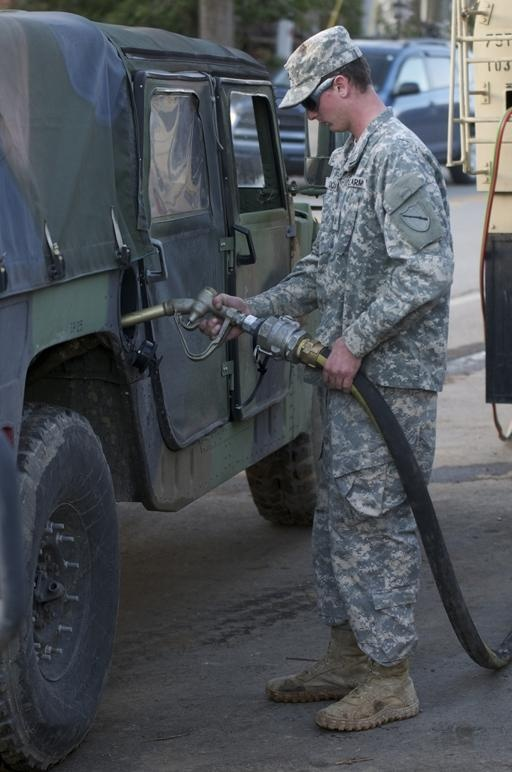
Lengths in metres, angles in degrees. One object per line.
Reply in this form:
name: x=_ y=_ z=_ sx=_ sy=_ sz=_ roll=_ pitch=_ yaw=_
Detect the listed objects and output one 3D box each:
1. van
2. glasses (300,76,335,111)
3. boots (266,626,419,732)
van: x=1.450 y=-3.732 z=16.409 sx=3.487 sy=2.133 sz=1.819 roll=11 pitch=-2 yaw=-18
glasses: x=0.165 y=-0.778 z=2.966 sx=0.044 sy=0.087 sz=0.060 roll=28 pitch=-11 yaw=-26
boots: x=0.271 y=0.862 z=3.187 sx=0.219 sy=0.203 sz=0.330 roll=4 pitch=-4 yaw=-14
